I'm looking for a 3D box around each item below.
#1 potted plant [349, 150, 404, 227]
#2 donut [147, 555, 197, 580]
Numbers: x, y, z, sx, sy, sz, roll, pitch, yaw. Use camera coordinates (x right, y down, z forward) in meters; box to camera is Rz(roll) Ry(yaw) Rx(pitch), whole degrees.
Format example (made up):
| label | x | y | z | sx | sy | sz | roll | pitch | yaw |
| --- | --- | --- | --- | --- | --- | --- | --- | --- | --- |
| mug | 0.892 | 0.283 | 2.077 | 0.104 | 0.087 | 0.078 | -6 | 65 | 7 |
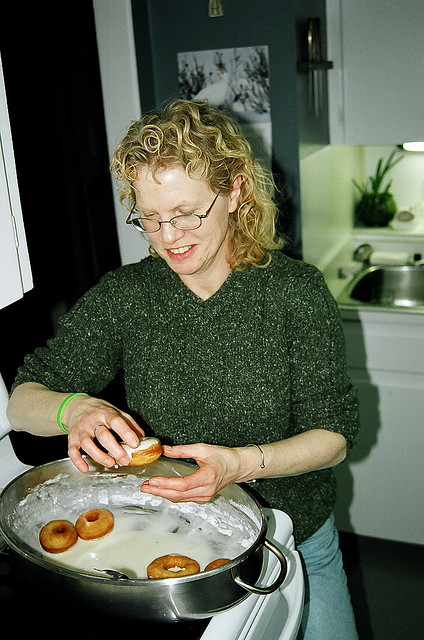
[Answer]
| label | x | y | z | sx | sy | sz | roll | pitch | yaw |
| --- | --- | --- | --- | --- | --- | --- | --- | --- | --- |
| potted plant | 0.808 | -0.605 | 2.579 | 0.230 | 0.336 | 0.189 | -14 | 18 | -26 |
| donut | -0.052 | 0.318 | 0.697 | 0.055 | 0.018 | 0.054 | 4 | -1 | 7 |
